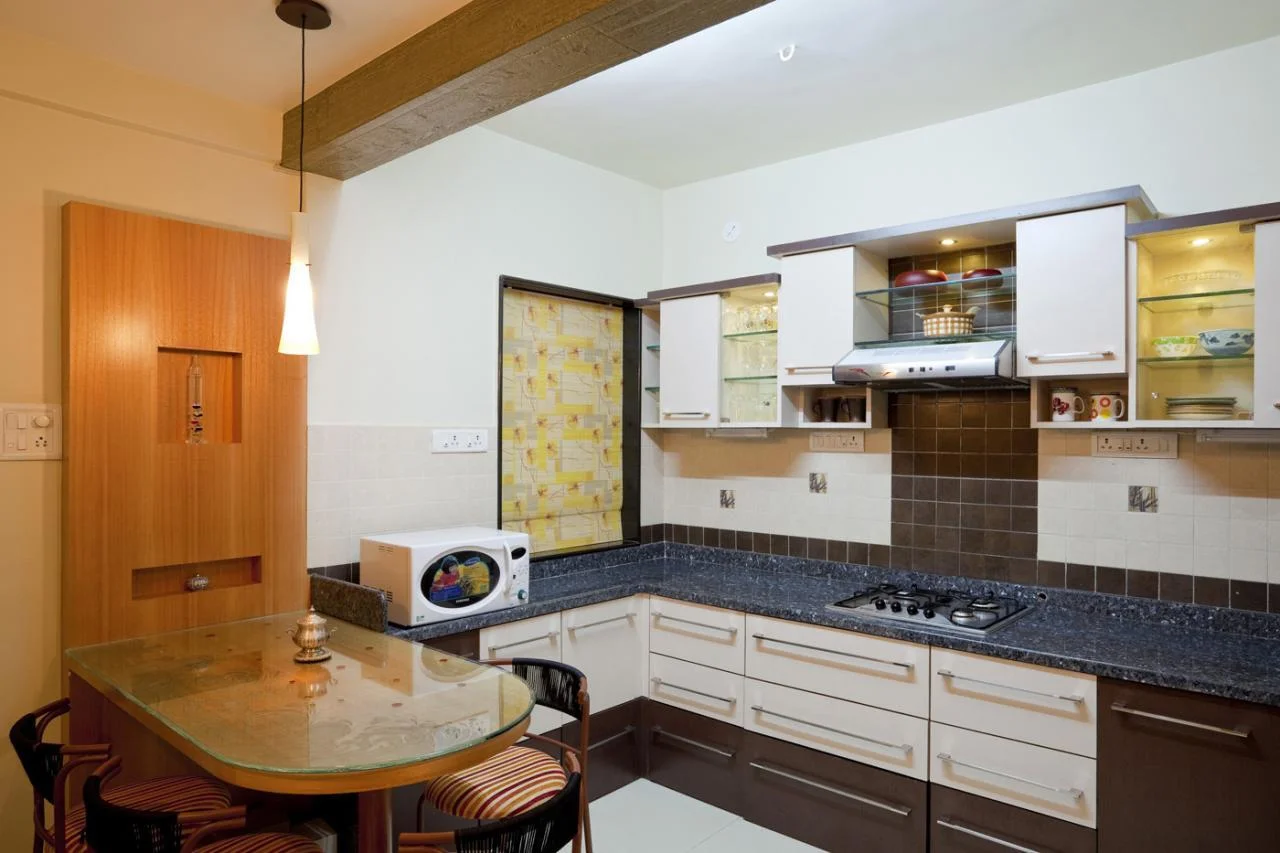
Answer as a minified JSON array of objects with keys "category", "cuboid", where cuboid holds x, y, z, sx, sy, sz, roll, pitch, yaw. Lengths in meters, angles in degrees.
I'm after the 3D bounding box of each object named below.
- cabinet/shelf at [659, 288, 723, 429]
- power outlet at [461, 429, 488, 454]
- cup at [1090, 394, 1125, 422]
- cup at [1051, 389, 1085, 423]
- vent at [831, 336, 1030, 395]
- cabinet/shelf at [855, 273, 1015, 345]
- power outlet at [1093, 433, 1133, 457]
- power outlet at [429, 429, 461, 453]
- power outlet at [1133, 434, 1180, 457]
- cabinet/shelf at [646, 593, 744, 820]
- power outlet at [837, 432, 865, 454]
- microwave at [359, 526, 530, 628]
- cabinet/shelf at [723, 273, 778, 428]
[{"category":"cabinet/shelf","cuboid":[0.288,-0.366,5.014,0.386,0.498,0.121,-2,2,43]},{"category":"power outlet","cuboid":[-0.851,0.069,4.643,0.163,0.104,0.006,-4,2,-40]},{"category":"cup","cuboid":[2.074,-0.084,3.960,0.104,0.141,0.156,1,0,-27]},{"category":"cup","cuboid":[1.957,-0.103,4.088,0.134,0.152,0.132,-3,2,0]},{"category":"vent","cuboid":[1.332,-0.297,4.201,0.771,0.226,0.354,-1,2,41]},{"category":"cabinet/shelf","cuboid":[1.451,-0.547,4.332,0.694,0.250,0.226,1,4,42]},{"category":"power outlet","cuboid":[2.187,0.079,4.133,0.177,0.142,0.092,3,4,44]},{"category":"power outlet","cuboid":[-0.994,0.072,4.527,0.127,0.089,0.017,2,-1,-43]},{"category":"power outlet","cuboid":[2.340,0.084,4.030,0.103,0.085,0.034,2,5,36]},{"category":"cabinet/shelf","cuboid":[0.407,1.379,4.667,0.616,0.975,0.501,2,4,38]},{"category":"power outlet","cuboid":[1.135,0.084,4.777,0.017,0.079,0.116,-5,7,-43]},{"category":"microwave","cuboid":[-0.918,0.697,4.263,0.477,0.350,0.684,3,2,42]},{"category":"cabinet/shelf","cuboid":[0.642,-0.357,4.987,0.332,0.677,0.245,-1,0,22]}]
